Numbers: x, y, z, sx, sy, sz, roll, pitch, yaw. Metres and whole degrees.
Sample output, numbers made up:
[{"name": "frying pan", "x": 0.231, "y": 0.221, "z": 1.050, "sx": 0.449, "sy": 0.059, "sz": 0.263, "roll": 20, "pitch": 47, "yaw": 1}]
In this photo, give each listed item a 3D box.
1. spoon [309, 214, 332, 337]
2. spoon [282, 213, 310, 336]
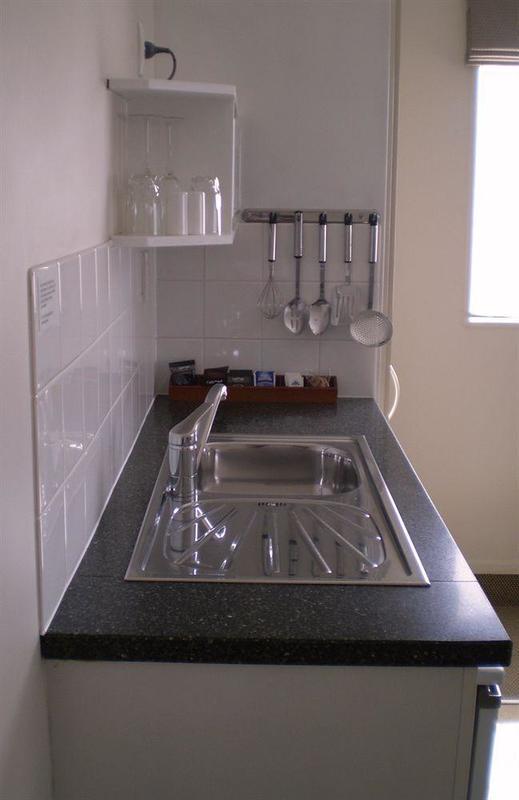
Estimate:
[{"name": "spoon", "x": 0.202, "y": -0.410, "z": 2.030, "sx": 0.060, "sy": 0.392, "sz": 0.063, "roll": 8, "pitch": 13, "yaw": 37}, {"name": "spoon", "x": 0.120, "y": -0.415, "z": 2.031, "sx": 0.059, "sy": 0.391, "sz": 0.066, "roll": -9, "pitch": 14, "yaw": -43}]
